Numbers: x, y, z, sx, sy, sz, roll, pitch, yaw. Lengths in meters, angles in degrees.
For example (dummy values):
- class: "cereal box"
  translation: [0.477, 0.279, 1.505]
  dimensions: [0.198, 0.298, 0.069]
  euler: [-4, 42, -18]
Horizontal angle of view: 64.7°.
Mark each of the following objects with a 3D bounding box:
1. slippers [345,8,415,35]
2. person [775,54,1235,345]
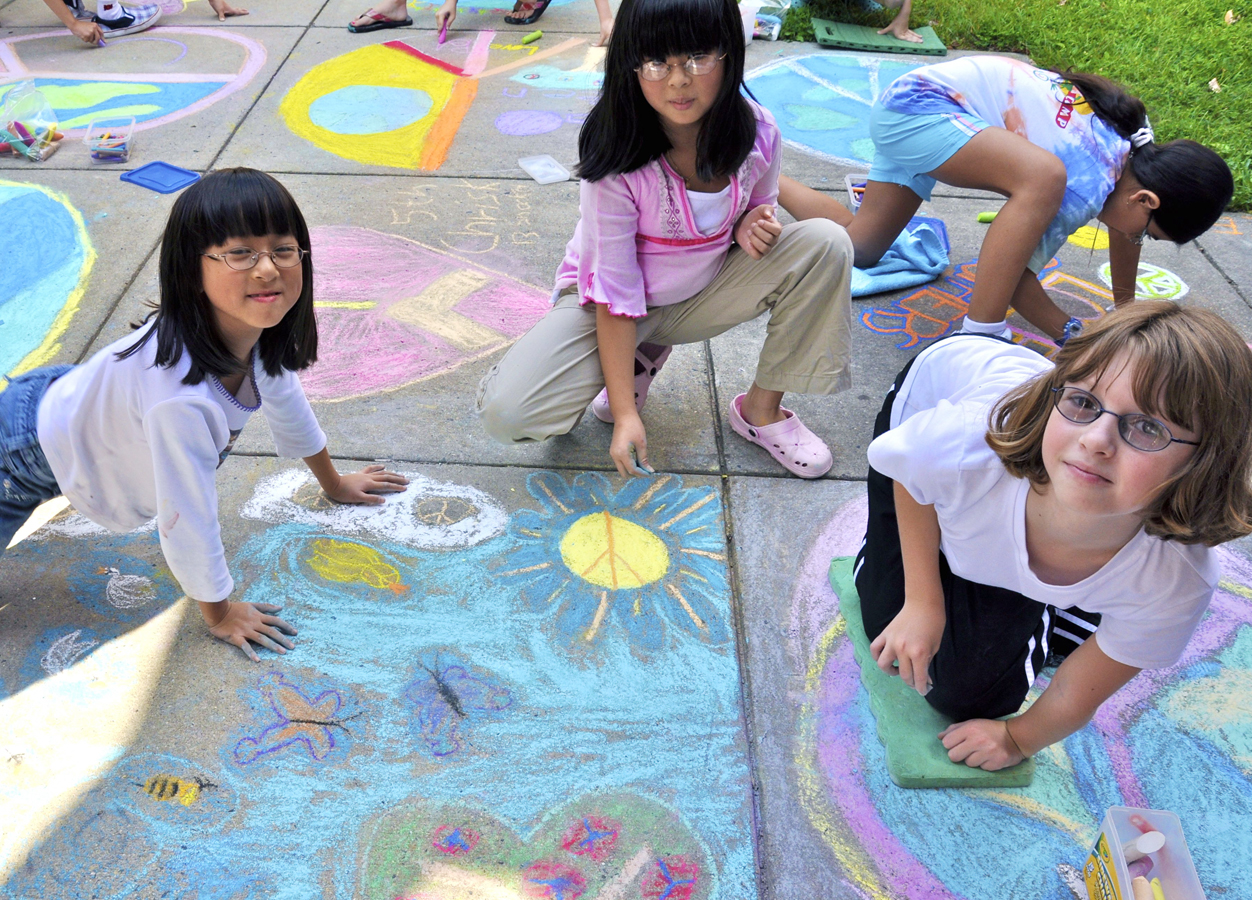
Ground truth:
- class: "slippers"
  translation: [-1.426, -2.470, 5.692]
  dimensions: [0.359, 0.112, 0.139]
  euler: [-9, 27, -22]
- class: "person"
  translation: [1.264, -1.087, 4.025]
  dimensions: [2.081, 0.947, 0.877]
  euler: [25, 36, 26]
